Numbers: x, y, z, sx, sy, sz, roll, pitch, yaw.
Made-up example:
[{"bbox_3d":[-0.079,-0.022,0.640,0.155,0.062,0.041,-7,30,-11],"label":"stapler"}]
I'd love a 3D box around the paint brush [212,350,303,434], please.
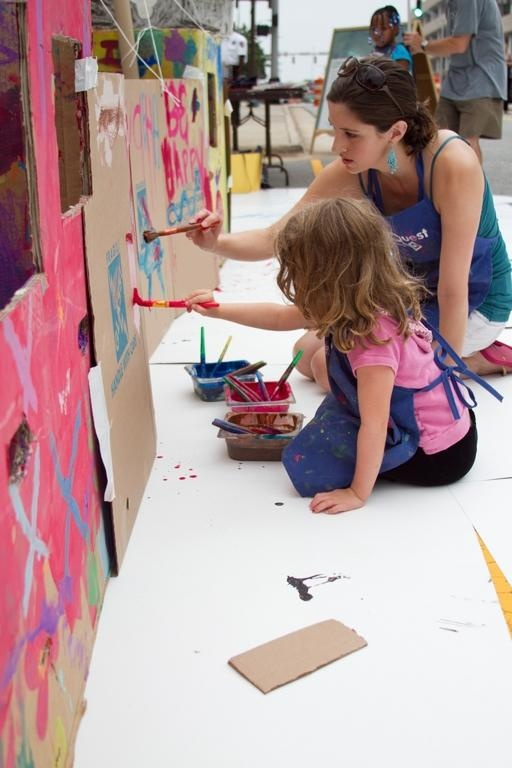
[{"bbox_3d":[0.009,0.034,1.764,0.173,0.108,0.269,-2,34,8],"label":"paint brush"}]

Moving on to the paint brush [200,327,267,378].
[{"bbox_3d":[-0.083,-0.129,2.115,0.196,0.167,0.224,-10,25,-26],"label":"paint brush"}]
